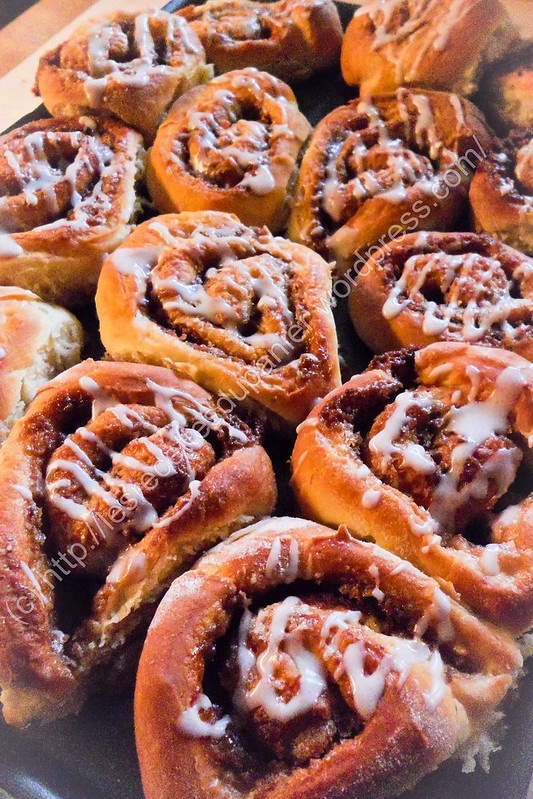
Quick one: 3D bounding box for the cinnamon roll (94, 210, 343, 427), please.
[{"bbox_3d":[-0.028,-0.243,2.029,0.555,0.216,0.616,0,44,-33],"label":"cinnamon roll"}]
